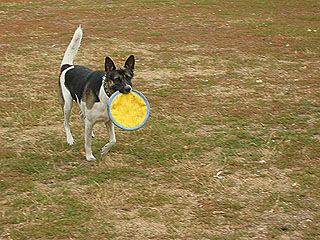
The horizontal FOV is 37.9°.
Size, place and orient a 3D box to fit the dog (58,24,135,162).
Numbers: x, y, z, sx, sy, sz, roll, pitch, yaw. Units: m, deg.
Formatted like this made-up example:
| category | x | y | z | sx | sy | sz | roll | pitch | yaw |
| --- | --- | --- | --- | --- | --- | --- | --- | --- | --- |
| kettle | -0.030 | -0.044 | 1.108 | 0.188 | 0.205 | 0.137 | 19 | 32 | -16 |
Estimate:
| category | x | y | z | sx | sy | sz | roll | pitch | yaw |
| --- | --- | --- | --- | --- | --- | --- | --- | --- | --- |
| dog | -1.459 | -0.345 | 9.982 | 1.018 | 2.265 | 1.956 | -17 | 27 | -28 |
